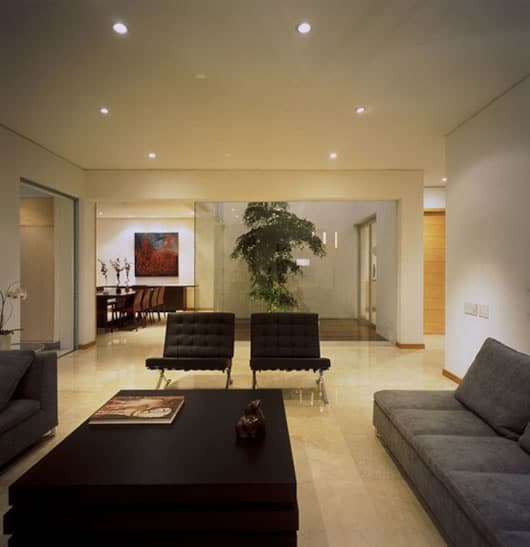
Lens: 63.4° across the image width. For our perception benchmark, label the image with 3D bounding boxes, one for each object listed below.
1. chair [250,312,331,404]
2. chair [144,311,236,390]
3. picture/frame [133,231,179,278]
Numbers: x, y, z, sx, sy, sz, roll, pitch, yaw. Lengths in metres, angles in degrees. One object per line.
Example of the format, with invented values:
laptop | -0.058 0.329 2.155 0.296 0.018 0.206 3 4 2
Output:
chair | 0.210 0.838 4.451 0.810 1.105 0.714 -1 -7 1
chair | -0.745 0.823 4.432 0.821 0.778 0.702 0 6 0
picture/frame | -3.041 -0.538 11.874 0.972 1.273 0.047 1 2 0
